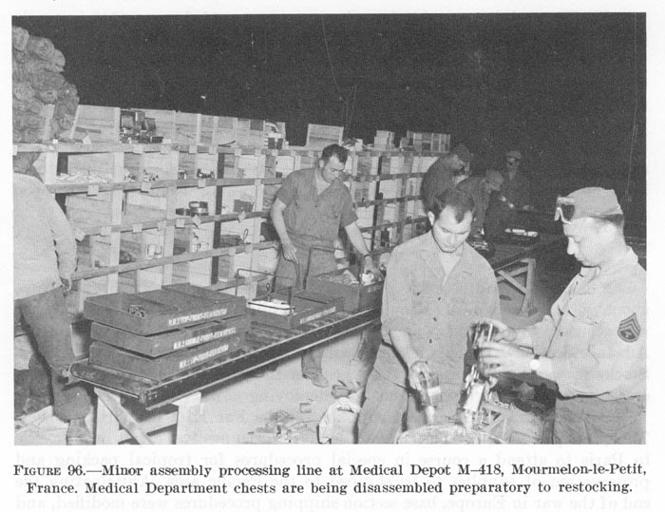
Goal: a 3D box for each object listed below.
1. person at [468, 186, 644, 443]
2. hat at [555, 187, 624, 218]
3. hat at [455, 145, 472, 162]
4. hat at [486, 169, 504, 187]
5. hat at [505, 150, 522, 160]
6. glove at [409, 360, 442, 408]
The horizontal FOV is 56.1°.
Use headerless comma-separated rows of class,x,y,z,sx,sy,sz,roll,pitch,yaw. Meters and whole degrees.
person,1.407,0.375,3.673,0.794,1.546,0.500,-1,2,25
hat,1.462,-0.301,3.486,0.223,0.077,0.216,-3,18,4
hat,1.931,-1.503,9.171,0.152,0.231,0.352,0,3,35
hat,2.303,-1.086,8.772,0.301,0.260,0.180,-4,3,-42
hat,3.075,-1.707,10.564,0.230,0.156,0.217,-1,3,11
glove,0.536,0.757,3.728,0.176,0.151,0.293,8,43,-28
